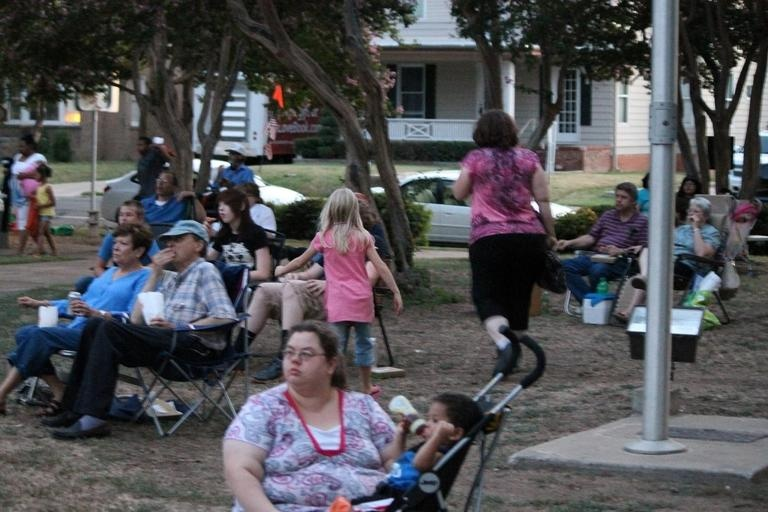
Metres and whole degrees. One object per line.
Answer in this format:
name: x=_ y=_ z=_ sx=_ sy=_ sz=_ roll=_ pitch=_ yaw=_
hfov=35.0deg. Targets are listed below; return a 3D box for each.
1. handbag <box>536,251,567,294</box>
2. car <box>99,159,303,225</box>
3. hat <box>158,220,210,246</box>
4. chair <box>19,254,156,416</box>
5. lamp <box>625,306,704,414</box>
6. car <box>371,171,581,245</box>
handbag: x=1.733 y=0.168 z=12.596 sx=0.269 sy=0.504 sz=0.535 roll=-6 pitch=-9 yaw=19
car: x=-3.920 y=-1.271 z=24.018 sx=4.384 sy=1.257 sz=1.843 roll=-2 pitch=5 yaw=-4
hat: x=-1.980 y=-0.259 z=12.180 sx=0.445 sy=0.177 sz=0.272 roll=4 pitch=-12 yaw=-21
chair: x=-3.074 y=0.723 z=12.116 sx=1.584 sy=1.608 sz=1.297 roll=10 pitch=0 yaw=-21
lamp: x=2.852 y=1.070 z=12.263 sx=0.757 sy=1.123 sz=0.799 roll=0 pitch=5 yaw=3
car: x=1.782 y=-0.895 z=23.681 sx=4.016 sy=1.133 sz=1.574 roll=-2 pitch=5 yaw=-6
